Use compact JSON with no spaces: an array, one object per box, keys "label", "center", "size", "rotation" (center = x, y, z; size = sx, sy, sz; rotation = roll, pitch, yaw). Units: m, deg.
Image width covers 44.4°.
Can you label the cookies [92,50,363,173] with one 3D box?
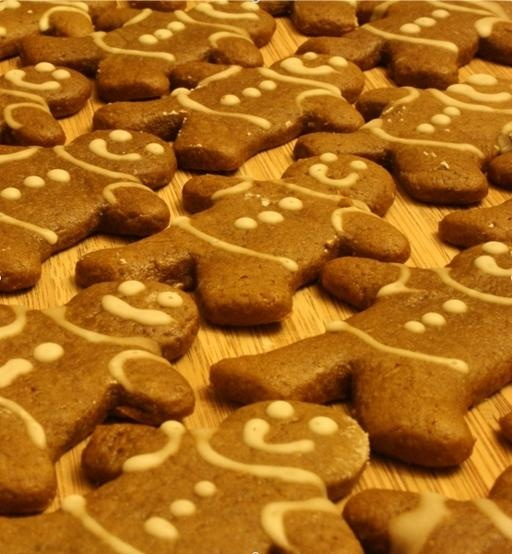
[{"label":"cookies","center":[-0.008,-0.291,1.154],"size":[0.391,0.064,0.260],"rotation":[-24,50,-28]}]

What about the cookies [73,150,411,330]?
[{"label":"cookies","center":[0.036,-0.070,0.916],"size":[0.283,0.062,0.359],"rotation":[32,47,31]}]

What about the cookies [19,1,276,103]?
[{"label":"cookies","center":[-0.190,-0.467,1.253],"size":[0.412,0.051,0.268],"rotation":[-16,43,-21]}]
